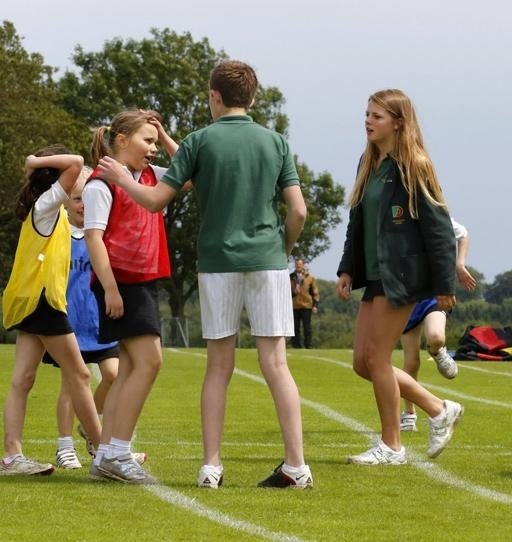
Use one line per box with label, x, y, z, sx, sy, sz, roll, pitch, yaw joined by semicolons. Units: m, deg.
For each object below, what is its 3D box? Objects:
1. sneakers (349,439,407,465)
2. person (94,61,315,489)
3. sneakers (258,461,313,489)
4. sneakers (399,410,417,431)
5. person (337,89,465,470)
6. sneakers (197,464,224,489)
sneakers;0.762;1.135;5.149;0.358;0.151;0.138;3;-10;-12
person;-0.159;0.137;4.411;0.878;1.968;0.380;0;-2;-4
sneakers;0.174;1.067;4.294;0.308;0.141;0.110;-1;-14;12
sneakers;1.277;1.231;6.707;0.235;0.162;0.081;2;-9;0
person;0.855;0.017;5.269;0.642;2.364;0.845;2;-3;-35
sneakers;-0.232;1.059;4.269;0.125;0.111;0.176;0;-3;-5
